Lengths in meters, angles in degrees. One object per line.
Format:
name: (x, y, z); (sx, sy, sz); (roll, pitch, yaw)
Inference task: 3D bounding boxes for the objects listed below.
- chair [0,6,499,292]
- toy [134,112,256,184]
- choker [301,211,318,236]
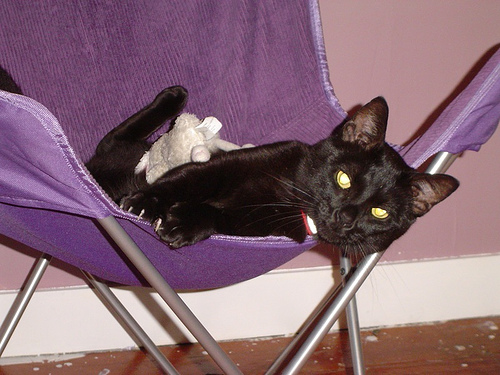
chair: (-0.124, -0.144, 1.713); (0.985, 1.216, 0.633); (12, -68, -20)
toy: (-0.143, -0.138, 1.704); (0.270, 0.101, 0.313); (-20, 9, -14)
choker: (0.174, 0.104, 1.667); (0.031, 0.078, 0.019); (-16, -27, 4)
